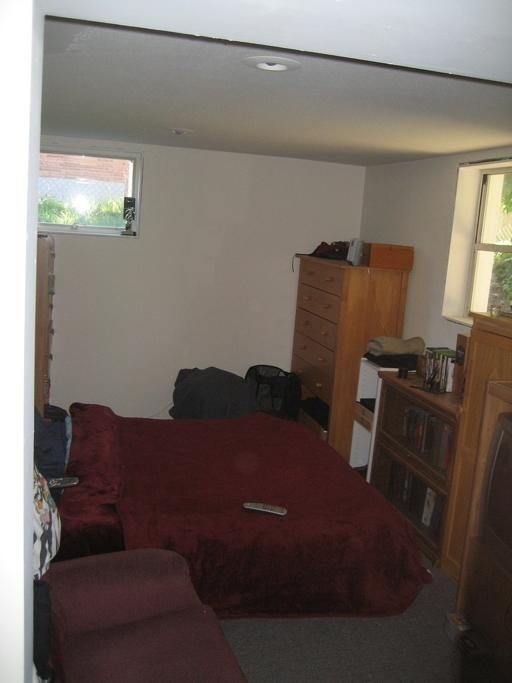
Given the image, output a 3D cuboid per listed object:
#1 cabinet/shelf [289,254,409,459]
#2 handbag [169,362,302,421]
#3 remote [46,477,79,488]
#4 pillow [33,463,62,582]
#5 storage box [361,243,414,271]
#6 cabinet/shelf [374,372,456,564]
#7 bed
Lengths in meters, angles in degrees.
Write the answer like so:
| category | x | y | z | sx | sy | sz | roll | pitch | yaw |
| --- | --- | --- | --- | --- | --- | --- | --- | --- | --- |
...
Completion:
| category | x | y | z | sx | sy | sz | roll | pitch | yaw |
| --- | --- | --- | --- | --- | --- | --- | --- | --- | --- |
| cabinet/shelf | 0.661 | 0.111 | 3.741 | 0.492 | 1.191 | 1.286 | 1 | 15 | -7 |
| handbag | -0.138 | 0.383 | 4.128 | 0.661 | 0.287 | 0.533 | 4 | 14 | -2 |
| remote | -0.682 | 0.500 | 1.921 | 0.075 | 0.013 | 0.039 | 4 | 14 | -22 |
| pillow | -0.475 | 0.421 | 1.231 | 0.054 | 0.285 | 0.293 | 2 | 13 | -20 |
| storage box | 0.924 | -0.586 | 3.815 | 0.377 | 0.175 | 0.105 | 3 | 12 | -14 |
| cabinet/shelf | 0.825 | 0.649 | 2.770 | 0.334 | 0.770 | 0.786 | 1 | 12 | -6 |
| bed | -0.072 | 0.696 | 2.169 | 1.045 | 0.322 | 1.084 | 0 | 14 | -13 |
